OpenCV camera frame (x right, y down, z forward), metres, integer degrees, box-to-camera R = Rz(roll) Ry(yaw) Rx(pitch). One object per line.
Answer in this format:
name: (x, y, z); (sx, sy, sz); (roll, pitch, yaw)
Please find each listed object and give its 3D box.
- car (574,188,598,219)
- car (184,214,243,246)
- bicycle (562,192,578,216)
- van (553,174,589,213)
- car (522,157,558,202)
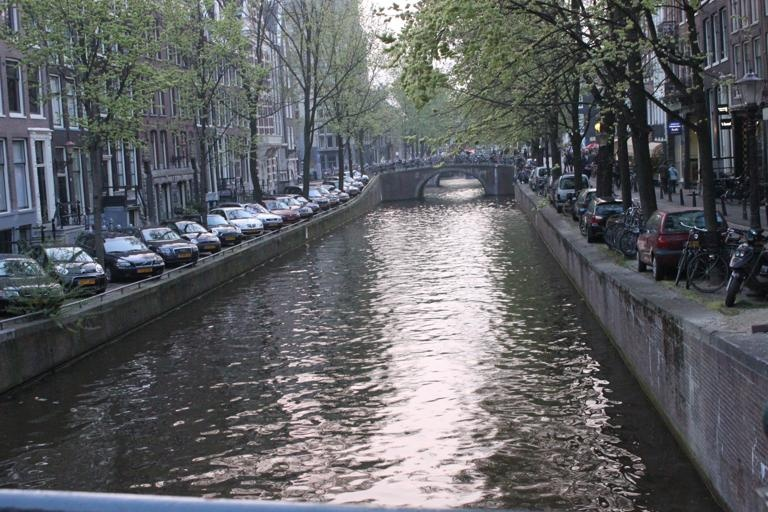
car: (9.461, -2.505, 36.080); (1.266, 0.955, 2.006); (-1, 16, 6)
car: (-9.210, -1.501, 41.268); (1.444, 1.177, 2.983); (-8, 11, -42)
bicycle: (10.145, -2.808, 41.330); (1.070, 0.786, 1.644); (1, 18, 11)
van: (11.309, -3.848, 45.874); (1.992, 1.471, 3.129); (-2, 18, 7)
car: (13.268, -6.584, 63.726); (2.869, 2.098, 4.517); (0, 15, 7)
